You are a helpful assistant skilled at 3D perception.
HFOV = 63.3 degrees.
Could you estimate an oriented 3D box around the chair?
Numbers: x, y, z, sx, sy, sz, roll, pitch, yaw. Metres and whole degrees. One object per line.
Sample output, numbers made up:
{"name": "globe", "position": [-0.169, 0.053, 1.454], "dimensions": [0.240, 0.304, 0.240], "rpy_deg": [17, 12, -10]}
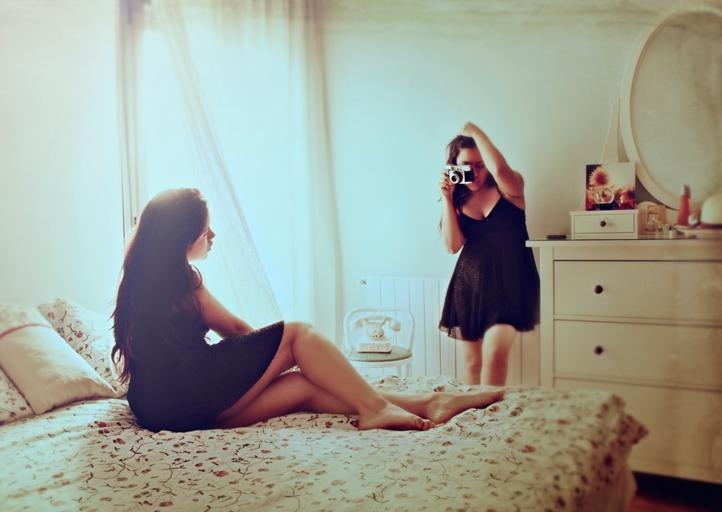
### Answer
{"name": "chair", "position": [0.063, 0.297, 2.160], "dimensions": [0.269, 0.358, 0.294], "rpy_deg": [-1, -1, -1]}

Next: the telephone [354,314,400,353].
{"name": "telephone", "position": [0.055, 0.273, 2.113], "dimensions": [0.170, 0.131, 0.102], "rpy_deg": [-1, 3, 8]}

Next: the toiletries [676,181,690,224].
{"name": "toiletries", "position": [0.520, -0.082, 0.946], "dimensions": [0.017, 0.067, 0.019], "rpy_deg": [9, -6, -20]}
